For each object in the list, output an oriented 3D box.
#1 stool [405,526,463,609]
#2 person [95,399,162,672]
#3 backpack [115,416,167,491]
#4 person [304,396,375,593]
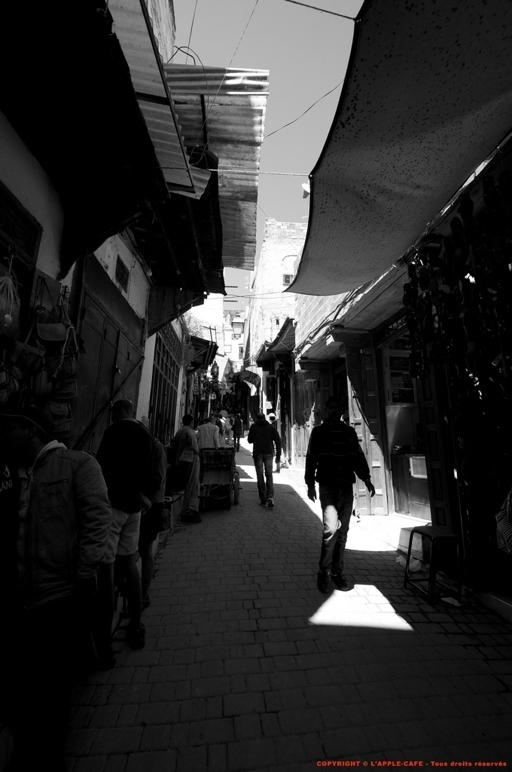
[{"bbox_3d":[1.562,1.536,3.855,0.326,0.592,0.411,2,5,-10],"label":"stool"},{"bbox_3d":[-0.910,0.881,3.052,0.374,1.634,0.396,1,-3,33],"label":"person"},{"bbox_3d":[-0.796,0.545,3.256,0.271,0.679,0.299,0,6,-18],"label":"backpack"},{"bbox_3d":[0.747,0.959,4.104,0.581,1.666,0.592,0,-3,-6],"label":"person"}]
